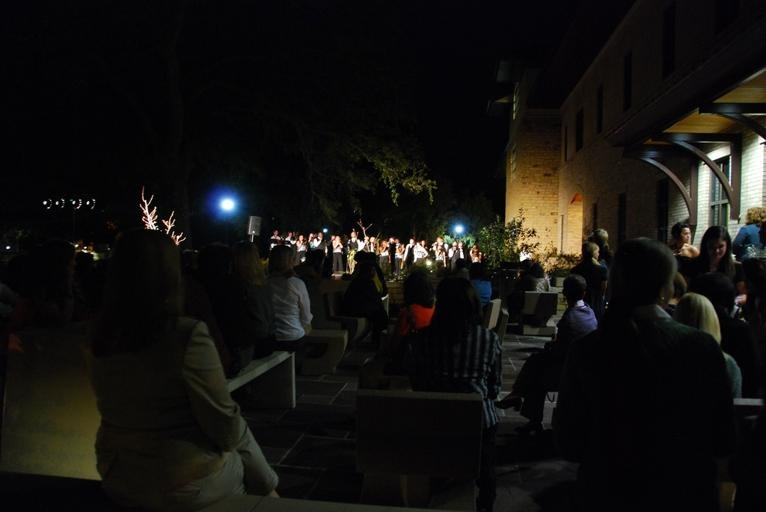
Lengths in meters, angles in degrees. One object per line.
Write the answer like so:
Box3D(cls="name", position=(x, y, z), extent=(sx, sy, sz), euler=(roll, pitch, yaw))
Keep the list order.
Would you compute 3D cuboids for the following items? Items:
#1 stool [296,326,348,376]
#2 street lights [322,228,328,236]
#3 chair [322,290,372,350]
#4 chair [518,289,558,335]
Box3D(cls="stool", position=(-0.934, 1.443, 8.624), extent=(0.699, 0.594, 0.664), euler=(1, -3, 11))
Box3D(cls="street lights", position=(-3.373, -1.427, 32.551), extent=(0.372, 0.379, 0.385), euler=(-27, -4, 33))
Box3D(cls="chair", position=(-0.829, 1.278, 10.572), extent=(0.522, 0.809, 0.863), euler=(3, -20, -6))
Box3D(cls="chair", position=(3.371, 1.246, 12.403), extent=(0.939, 1.250, 0.902), euler=(1, 3, 2))
